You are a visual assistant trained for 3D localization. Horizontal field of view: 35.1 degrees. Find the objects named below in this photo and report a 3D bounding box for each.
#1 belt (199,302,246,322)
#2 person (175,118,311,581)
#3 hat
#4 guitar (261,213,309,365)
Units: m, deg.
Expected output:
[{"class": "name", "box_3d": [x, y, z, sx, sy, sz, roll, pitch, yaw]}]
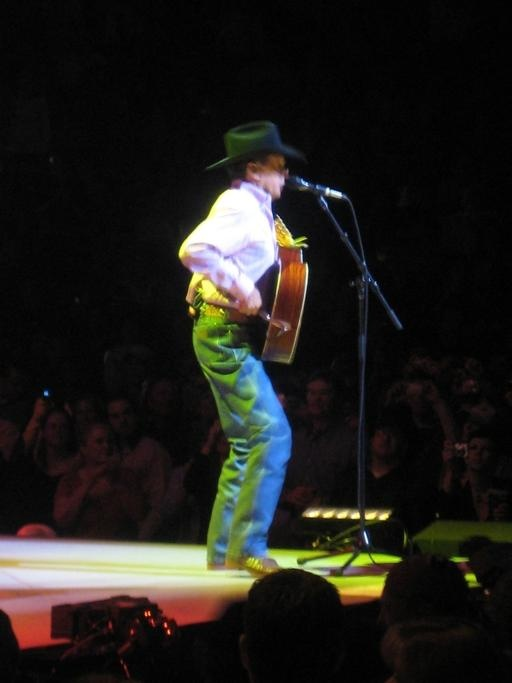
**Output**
[{"class": "belt", "box_3d": [-0.120, -0.104, 2.824, 0.110, 0.032, 0.076, 17, -4, 13]}, {"class": "person", "box_3d": [-0.062, -0.026, 2.827, 0.432, 1.552, 0.678, 5, 7, 2]}, {"class": "hat", "box_3d": [0.002, -0.747, 3.052, 0.422, 0.158, 0.318, -12, 20, -25]}, {"class": "guitar", "box_3d": [0.111, -0.160, 2.911, 0.121, 0.439, 0.269, 4, 8, 0]}]
